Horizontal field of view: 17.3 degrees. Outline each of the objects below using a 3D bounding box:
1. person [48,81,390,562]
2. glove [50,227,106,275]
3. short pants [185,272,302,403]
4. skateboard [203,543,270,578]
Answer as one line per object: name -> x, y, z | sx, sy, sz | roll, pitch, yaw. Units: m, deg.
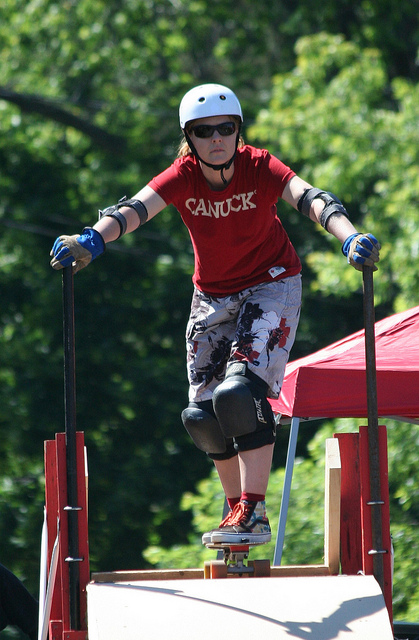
person -> 0.085, -0.069, 7.321 | 1.495, 2.211, 0.886 | -6, 2, 5
glove -> -0.695, -0.351, 7.074 | 0.336, 0.235, 0.129 | -26, 53, -30
short pants -> 0.171, 0.095, 7.473 | 0.653, 0.593, 0.480 | -6, 2, 5
skateboard -> 0.118, 1.214, 6.987 | 0.250, 0.132, 0.216 | 1, -9, -4
